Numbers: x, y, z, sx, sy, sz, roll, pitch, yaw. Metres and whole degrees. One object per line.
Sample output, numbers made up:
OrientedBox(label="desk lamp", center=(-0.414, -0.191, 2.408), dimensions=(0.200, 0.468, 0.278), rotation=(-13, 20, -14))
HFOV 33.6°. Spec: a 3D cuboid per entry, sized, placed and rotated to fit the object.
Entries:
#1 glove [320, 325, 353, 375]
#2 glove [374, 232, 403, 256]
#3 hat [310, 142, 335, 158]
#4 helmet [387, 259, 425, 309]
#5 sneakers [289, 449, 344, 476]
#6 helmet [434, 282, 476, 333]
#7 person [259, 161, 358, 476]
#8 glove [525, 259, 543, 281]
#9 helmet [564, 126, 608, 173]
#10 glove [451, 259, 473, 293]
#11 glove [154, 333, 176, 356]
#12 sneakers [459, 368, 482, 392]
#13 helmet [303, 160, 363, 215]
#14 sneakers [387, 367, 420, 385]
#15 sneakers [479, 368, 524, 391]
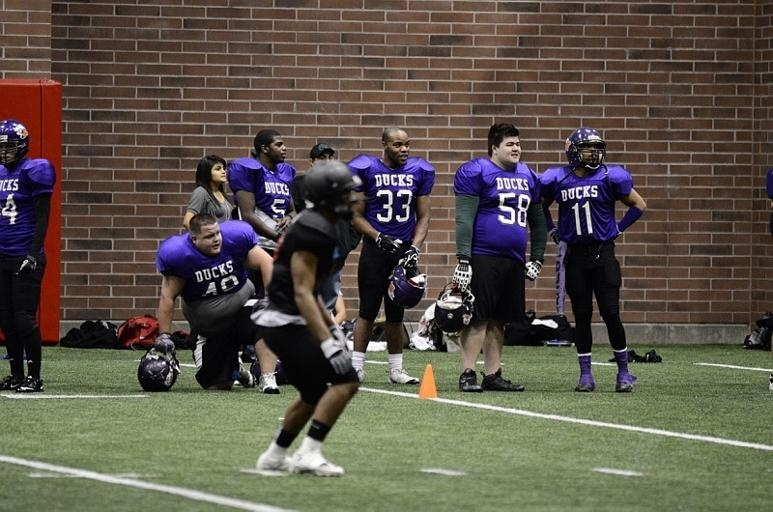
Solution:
OrientedBox(label="glove", center=(-0.406, 0.744, 10.220), dimensions=(0.250, 0.372, 0.337), rotation=(0, -1, -2))
OrientedBox(label="glove", center=(0.037, -0.146, 13.561), dimensions=(0.273, 0.101, 0.189), rotation=(25, -24, 20))
OrientedBox(label="hat", center=(-0.786, -1.301, 15.822), dimensions=(0.222, 0.146, 0.330), rotation=(-2, -2, -19))
OrientedBox(label="helmet", center=(0.241, 0.321, 13.649), dimensions=(0.407, 0.425, 0.503), rotation=(17, 15, -18))
OrientedBox(label="sneakers", center=(-0.562, 1.639, 10.259), dimensions=(0.514, 0.195, 0.164), rotation=(2, 2, 0))
OrientedBox(label="helmet", center=(0.739, 0.541, 13.509), dimensions=(0.426, 0.465, 0.291), rotation=(8, -7, 25))
OrientedBox(label="person", center=(-0.642, 0.495, 10.159), dimensions=(0.813, 2.493, 0.320), rotation=(0, -1, 1))
OrientedBox(label="glove", center=(1.534, 0.159, 13.623), dimensions=(0.198, 0.072, 0.247), rotation=(34, 50, 13))
OrientedBox(label="helmet", center=(2.110, -1.141, 13.637), dimensions=(0.372, 0.480, 0.523), rotation=(0, -1, 10))
OrientedBox(label="glove", center=(0.790, 0.212, 13.306), dimensions=(0.222, 0.293, 0.096), rotation=(14, -9, 18))
OrientedBox(label="glove", center=(-2.223, 0.870, 12.793), dimensions=(0.183, 0.228, 0.261), rotation=(0, -1, -14))
OrientedBox(label="sneakers", center=(0.874, 1.283, 13.374), dimensions=(0.236, 0.245, 0.183), rotation=(0, -1, 3))
OrientedBox(label="helmet", center=(-0.473, -0.545, 10.163), dimensions=(0.518, 0.365, 0.386), rotation=(-1, 14, -13))
OrientedBox(label="sneakers", center=(0.145, 1.303, 13.969), dimensions=(0.394, 0.131, 0.136), rotation=(-1, -5, 21))
OrientedBox(label="sneakers", center=(1.171, 1.315, 13.424), dimensions=(0.538, 0.229, 0.177), rotation=(0, -5, 2))
